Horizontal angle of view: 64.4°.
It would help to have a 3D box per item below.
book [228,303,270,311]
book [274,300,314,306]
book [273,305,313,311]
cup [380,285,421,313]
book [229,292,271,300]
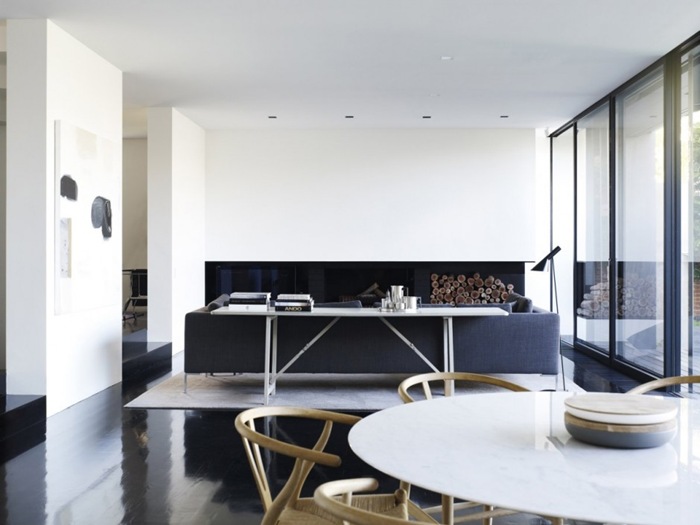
[{"bbox_3d":[-0.962,0.419,5.284,0.406,0.057,0.315,0,5,-2],"label":"book"},{"bbox_3d":[-0.533,0.384,5.301,0.363,0.065,0.138,-1,5,-13],"label":"book"},{"bbox_3d":[-0.534,0.430,5.233,0.342,0.053,0.083,0,5,-7],"label":"book"},{"bbox_3d":[0.498,0.360,5.472,0.378,0.274,0.214,0,1,-2],"label":"cup"},{"bbox_3d":[-0.980,0.327,5.518,0.258,0.052,0.232,0,-2,3],"label":"book"}]
